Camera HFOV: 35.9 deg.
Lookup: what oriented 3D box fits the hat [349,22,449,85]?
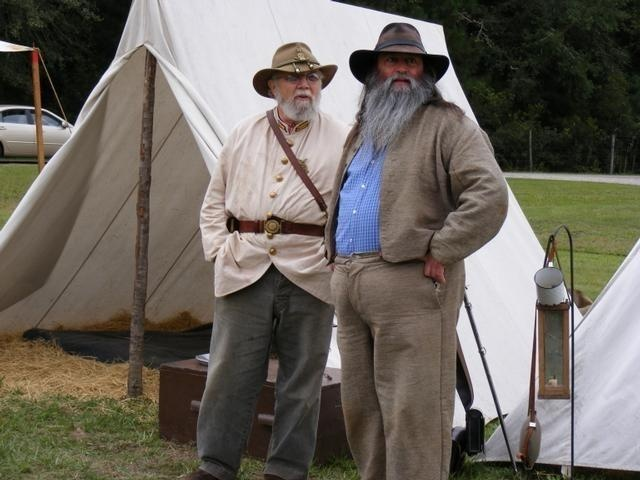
[{"bbox_3d":[0.545,-1.396,7.411,0.679,0.353,0.836,2,-27,4],"label":"hat"}]

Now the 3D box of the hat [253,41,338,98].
[{"bbox_3d":[-0.226,-1.300,7.556,0.574,0.327,0.693,-1,-8,-9],"label":"hat"}]
